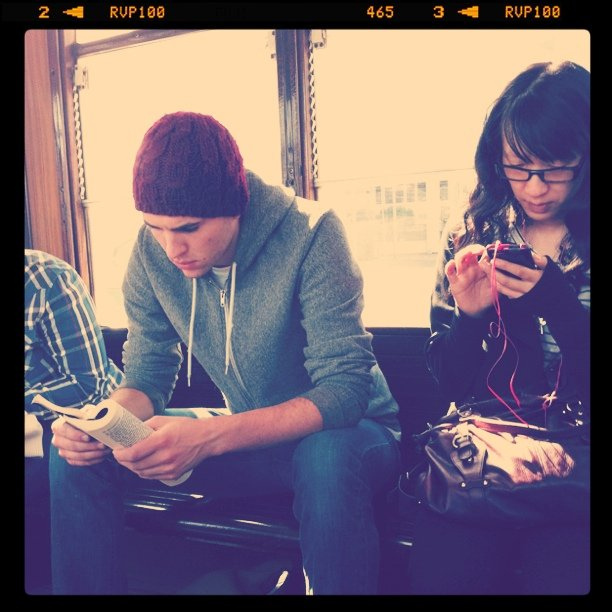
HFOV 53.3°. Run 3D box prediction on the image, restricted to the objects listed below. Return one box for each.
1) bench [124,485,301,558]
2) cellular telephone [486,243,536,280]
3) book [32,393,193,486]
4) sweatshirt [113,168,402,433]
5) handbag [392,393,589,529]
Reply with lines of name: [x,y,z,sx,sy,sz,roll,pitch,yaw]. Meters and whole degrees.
bench: [-0.267,0.605,1.729,0.498,0.191,0.031,-2,3,8]
cellular telephone: [0.562,-0.123,1.685,0.130,0.098,0.014,-2,4,0]
book: [-0.540,0.381,1.738,0.295,0.093,0.073,35,-45,-17]
sweatshirt: [-0.189,-0.004,1.820,0.806,0.833,0.599,1,27,6]
handbag: [0.500,0.444,1.748,0.481,0.234,0.323,-2,31,7]
